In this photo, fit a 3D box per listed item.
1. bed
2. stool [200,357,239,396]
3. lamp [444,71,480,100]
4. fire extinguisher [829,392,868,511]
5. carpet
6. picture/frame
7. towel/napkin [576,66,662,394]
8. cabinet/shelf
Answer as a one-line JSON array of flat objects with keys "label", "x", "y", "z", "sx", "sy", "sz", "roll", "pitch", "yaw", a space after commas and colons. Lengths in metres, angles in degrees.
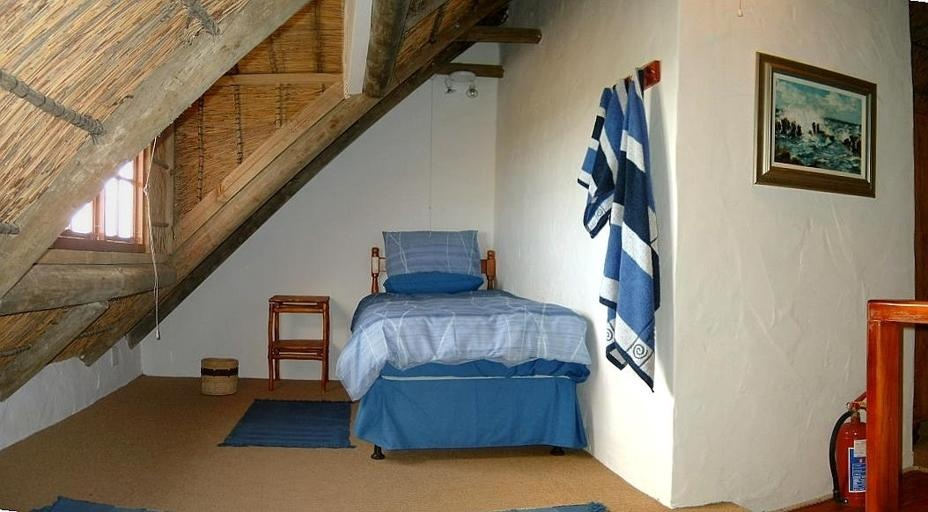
[{"label": "bed", "x": -0.098, "y": 0.720, "z": 6.177, "sx": 1.675, "sy": 1.222, "sz": 2.491, "roll": 1, "pitch": 5, "yaw": -12}, {"label": "stool", "x": -2.118, "y": 1.043, "z": 6.167, "sx": 0.324, "sy": 0.261, "sz": 0.308, "roll": 3, "pitch": -4, "yaw": -25}, {"label": "lamp", "x": -0.032, "y": -1.652, "z": 6.851, "sx": 0.338, "sy": 0.224, "sz": 0.351, "roll": 1, "pitch": 12, "yaw": 0}, {"label": "fire extinguisher", "x": 2.493, "y": 1.264, "z": 4.623, "sx": 0.204, "sy": 0.705, "sz": 0.228, "roll": -5, "pitch": 14, "yaw": -27}, {"label": "carpet", "x": -1.310, "y": 1.297, "z": 5.595, "sx": 0.944, "sy": 0.054, "sz": 0.979, "roll": 1, "pitch": 11, "yaw": -4}, {"label": "picture/frame", "x": 2.262, "y": -0.870, "z": 4.688, "sx": 1.059, "sy": 0.691, "sz": 0.042, "roll": 4, "pitch": -7, "yaw": -25}, {"label": "towel/napkin", "x": 1.023, "y": -0.204, "z": 4.646, "sx": 0.438, "sy": 1.987, "sz": 0.784, "roll": 0, "pitch": 13, "yaw": -7}, {"label": "cabinet/shelf", "x": -1.518, "y": 0.783, "z": 6.540, "sx": 0.591, "sy": 0.815, "sz": 0.639, "roll": -1, "pitch": 12, "yaw": -11}]
